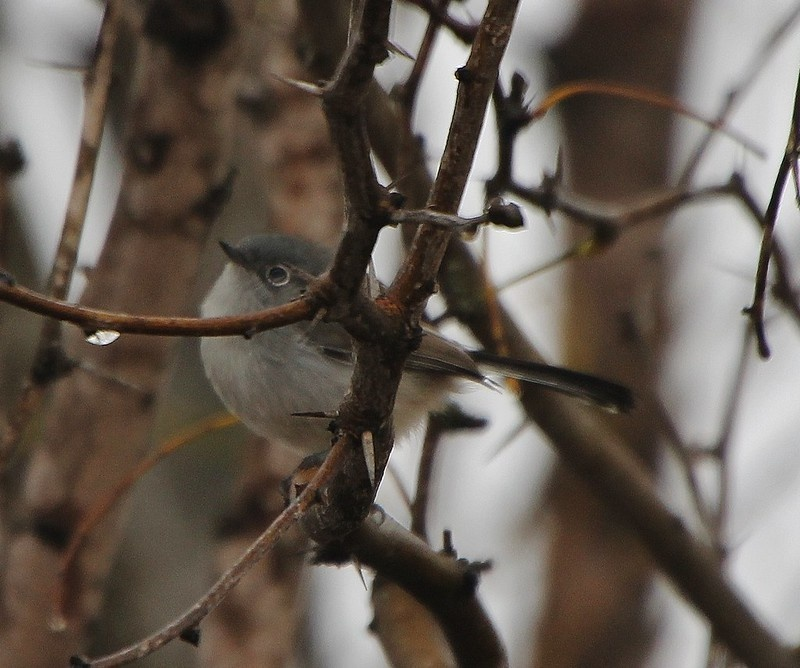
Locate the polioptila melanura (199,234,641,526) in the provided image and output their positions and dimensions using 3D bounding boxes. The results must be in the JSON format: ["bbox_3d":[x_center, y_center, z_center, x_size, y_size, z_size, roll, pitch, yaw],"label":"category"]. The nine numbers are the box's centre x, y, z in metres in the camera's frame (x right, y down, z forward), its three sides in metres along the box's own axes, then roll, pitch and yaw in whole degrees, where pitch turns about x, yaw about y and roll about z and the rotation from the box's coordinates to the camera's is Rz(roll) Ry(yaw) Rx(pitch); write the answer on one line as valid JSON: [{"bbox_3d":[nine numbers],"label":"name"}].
[{"bbox_3d":[0.026,0.069,2.116,0.630,0.284,0.348,12,-105,-3],"label":"polioptila melanura"}]
